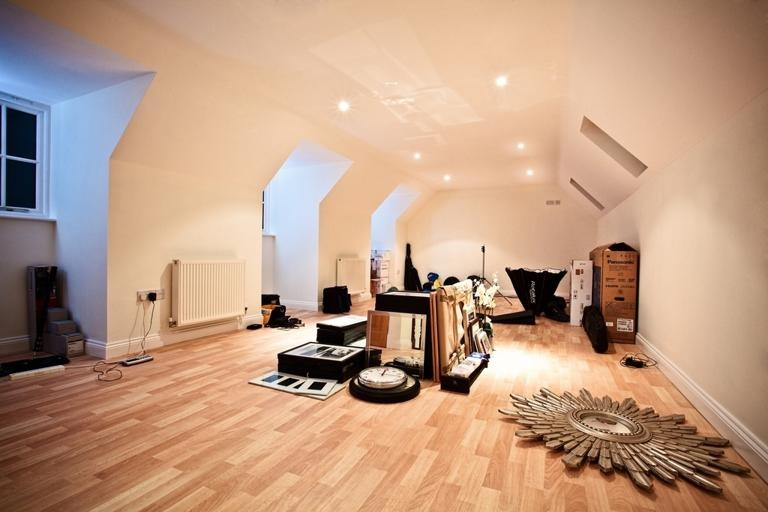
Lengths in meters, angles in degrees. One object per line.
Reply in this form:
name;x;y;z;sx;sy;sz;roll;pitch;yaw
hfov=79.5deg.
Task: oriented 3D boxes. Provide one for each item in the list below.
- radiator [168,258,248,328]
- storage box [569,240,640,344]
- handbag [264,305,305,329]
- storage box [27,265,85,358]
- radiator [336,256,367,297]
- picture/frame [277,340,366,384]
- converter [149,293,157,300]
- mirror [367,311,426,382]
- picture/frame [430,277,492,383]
radiator;-2.449;0.483;6.538;0.157;0.856;1.158;2;2;33
storage box;3.290;0.579;6.849;0.489;1.474;1.541;0;-1;10
handbag;-1.624;0.974;7.469;0.436;0.162;0.348;2;2;16
storage box;-4.066;0.669;5.693;0.653;1.104;0.401;-2;-2;32
radiator;-0.693;0.405;9.515;0.118;0.633;0.886;0;-1;23
picture/frame;-0.690;1.200;5.266;0.935;0.346;0.476;-2;-2;19
converter;-2.955;0.510;5.891;0.111;0.108;0.080;3;4;-26
mirror;0.162;0.986;5.058;0.746;0.810;0.057;1;0;15
picture/frame;0.904;0.899;5.374;0.374;1.068;1.078;-2;-1;28
